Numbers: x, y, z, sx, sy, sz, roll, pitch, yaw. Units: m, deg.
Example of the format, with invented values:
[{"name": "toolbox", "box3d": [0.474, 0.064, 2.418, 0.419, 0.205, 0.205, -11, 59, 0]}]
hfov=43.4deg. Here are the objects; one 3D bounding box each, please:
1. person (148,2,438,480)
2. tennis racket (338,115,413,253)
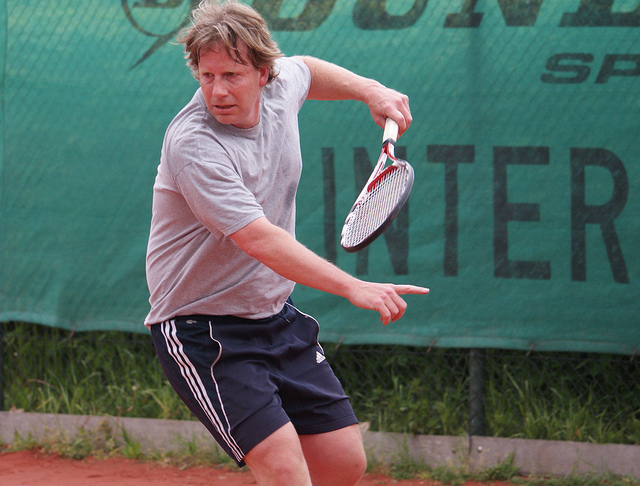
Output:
[{"name": "person", "box3d": [-0.261, 0.017, 4.051, 1.164, 2.381, 1.054, 0, 8, -13]}, {"name": "tennis racket", "box3d": [0.345, -0.408, 4.365, 0.419, 0.099, 1.217, -31, 27, 37]}]
